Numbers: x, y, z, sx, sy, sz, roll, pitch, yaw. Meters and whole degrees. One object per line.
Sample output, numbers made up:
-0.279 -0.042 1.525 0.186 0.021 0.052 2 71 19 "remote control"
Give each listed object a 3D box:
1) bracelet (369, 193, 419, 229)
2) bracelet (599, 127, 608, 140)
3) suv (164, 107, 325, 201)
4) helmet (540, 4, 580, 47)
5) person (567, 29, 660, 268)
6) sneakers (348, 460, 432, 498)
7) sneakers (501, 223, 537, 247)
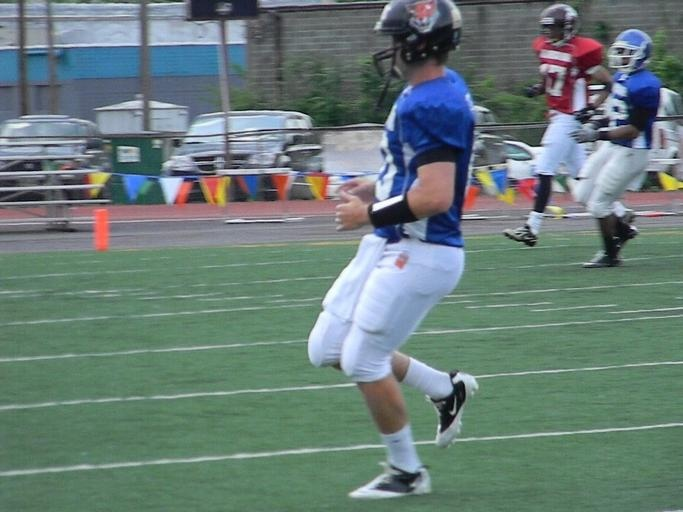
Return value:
0.293 -0.261 7.044 0.291 0.161 0.103 -11 -37 23 "bracelet"
2.512 -1.162 11.512 0.144 0.085 0.113 1 5 9 "bracelet"
-1.721 -1.688 20.053 2.497 1.444 2.707 -1 8 -7 "suv"
2.185 -2.316 12.055 0.375 0.398 0.271 1 9 6 "helmet"
2.702 -1.012 11.699 0.586 2.337 0.764 -6 12 -30 "person"
0.279 1.352 7.293 0.561 0.156 0.176 -2 0 -36 "sneakers"
1.861 -0.220 12.301 0.517 0.207 0.160 14 2 3 "sneakers"
